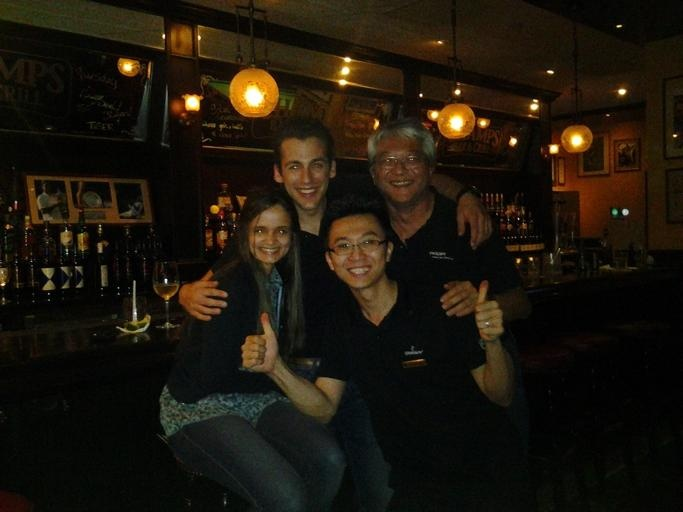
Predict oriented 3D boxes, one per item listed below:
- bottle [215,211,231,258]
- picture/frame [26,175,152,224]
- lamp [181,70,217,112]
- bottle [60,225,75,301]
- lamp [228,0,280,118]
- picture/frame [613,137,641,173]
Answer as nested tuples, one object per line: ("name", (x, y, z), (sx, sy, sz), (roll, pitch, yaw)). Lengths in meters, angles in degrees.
("bottle", (-1.345, -0.246, 6.014), (0.180, 0.505, 0.171), (1, 2, 0))
("picture/frame", (-2.493, -0.550, 5.379), (1.146, 0.532, 0.043), (-1, 24, -9))
("lamp", (-1.529, -1.752, 5.713), (0.296, 0.466, 0.192), (0, 1, -17))
("bottle", (-2.434, 0.050, 4.775), (0.120, 0.567, 0.470), (0, 15, -28))
("lamp", (-0.808, -1.889, 5.073), (0.418, 1.121, 1.198), (4, 13, -12))
("picture/frame", (5.983, -2.127, 11.233), (0.042, 0.971, 0.707), (-9, 10, -37))
